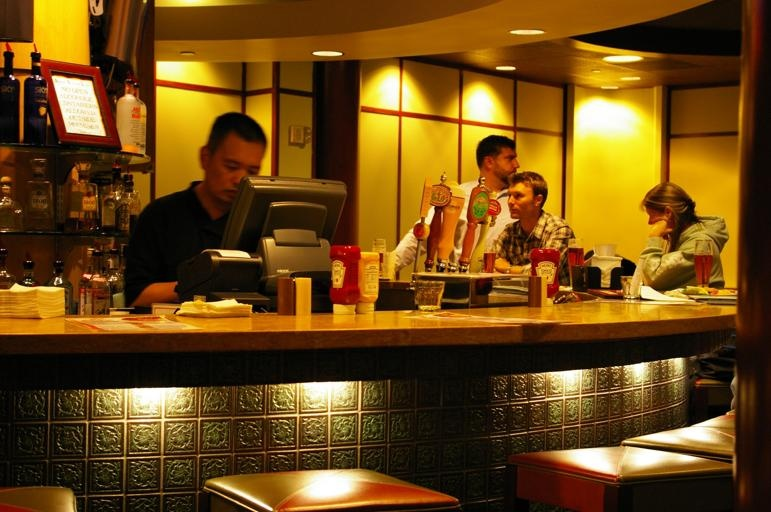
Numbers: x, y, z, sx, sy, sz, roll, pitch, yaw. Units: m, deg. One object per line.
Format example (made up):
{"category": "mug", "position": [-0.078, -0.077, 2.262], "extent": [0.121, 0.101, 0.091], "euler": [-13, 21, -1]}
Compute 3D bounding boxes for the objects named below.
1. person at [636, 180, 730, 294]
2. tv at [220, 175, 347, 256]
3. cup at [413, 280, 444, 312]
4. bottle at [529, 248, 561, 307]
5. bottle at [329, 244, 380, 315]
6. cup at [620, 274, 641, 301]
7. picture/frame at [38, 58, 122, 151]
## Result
{"category": "person", "position": [1.990, -0.141, 4.732], "extent": [0.571, 0.707, 0.927], "euler": [5, 6, 25]}
{"category": "tv", "position": [-0.438, -0.177, 3.065], "extent": [0.544, 0.326, 0.261], "euler": [1, 5, -15]}
{"category": "cup", "position": [0.186, 0.175, 3.050], "extent": [0.134, 0.110, 0.122], "euler": [0, -3, 0]}
{"category": "bottle", "position": [0.781, 0.086, 3.447], "extent": [0.120, 0.248, 0.117], "euler": [2, 5, 0]}
{"category": "bottle", "position": [-0.123, 0.093, 2.790], "extent": [0.198, 0.269, 0.119], "euler": [1, 5, -13]}
{"category": "cup", "position": [1.434, 0.172, 4.130], "extent": [0.133, 0.149, 0.138], "euler": [1, -6, 0]}
{"category": "picture/frame", "position": [-1.464, -0.726, 3.376], "extent": [0.217, 0.406, 0.312], "euler": [7, 7, 44]}
